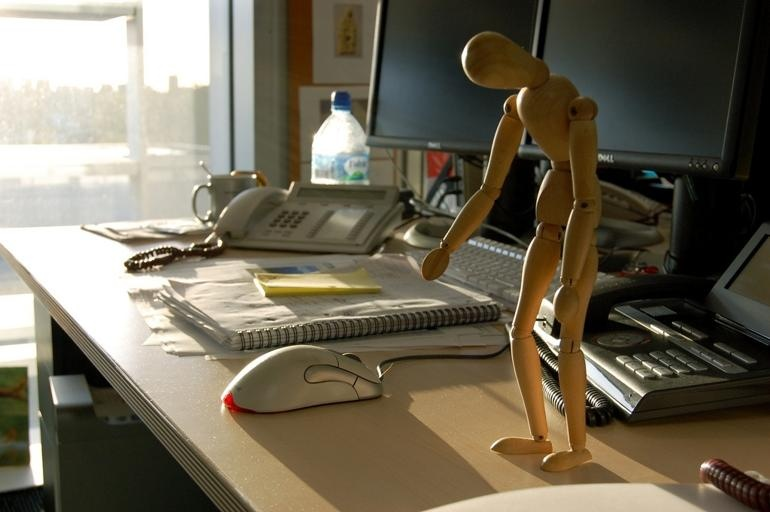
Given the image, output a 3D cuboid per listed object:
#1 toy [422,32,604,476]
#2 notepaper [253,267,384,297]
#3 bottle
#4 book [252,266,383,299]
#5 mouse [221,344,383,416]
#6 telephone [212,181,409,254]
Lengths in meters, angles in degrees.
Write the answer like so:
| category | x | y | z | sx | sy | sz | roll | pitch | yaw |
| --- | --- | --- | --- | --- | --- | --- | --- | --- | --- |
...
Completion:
| category | x | y | z | sx | sy | sz | roll | pitch | yaw |
| --- | --- | --- | --- | --- | --- | --- | --- | --- | --- |
| toy | 0.154 | 0.017 | 0.649 | 0.155 | 0.484 | 0.159 | 12 | 22 | 29 |
| notepaper | -0.114 | 0.046 | 1.010 | 0.259 | 0.034 | 0.296 | 2 | 2 | -20 |
| bottle | -0.131 | -0.314 | 1.829 | 0.175 | 0.355 | 0.186 | 2 | 8 | 0 |
| book | -0.122 | 0.041 | 1.011 | 0.253 | 0.035 | 0.290 | 2 | 2 | -20 |
| mouse | -0.095 | 0.143 | 0.728 | 0.200 | 0.066 | 0.115 | 0 | 3 | -34 |
| telephone | -0.185 | -0.102 | 1.438 | 0.441 | 0.139 | 0.359 | 1 | 11 | 5 |
